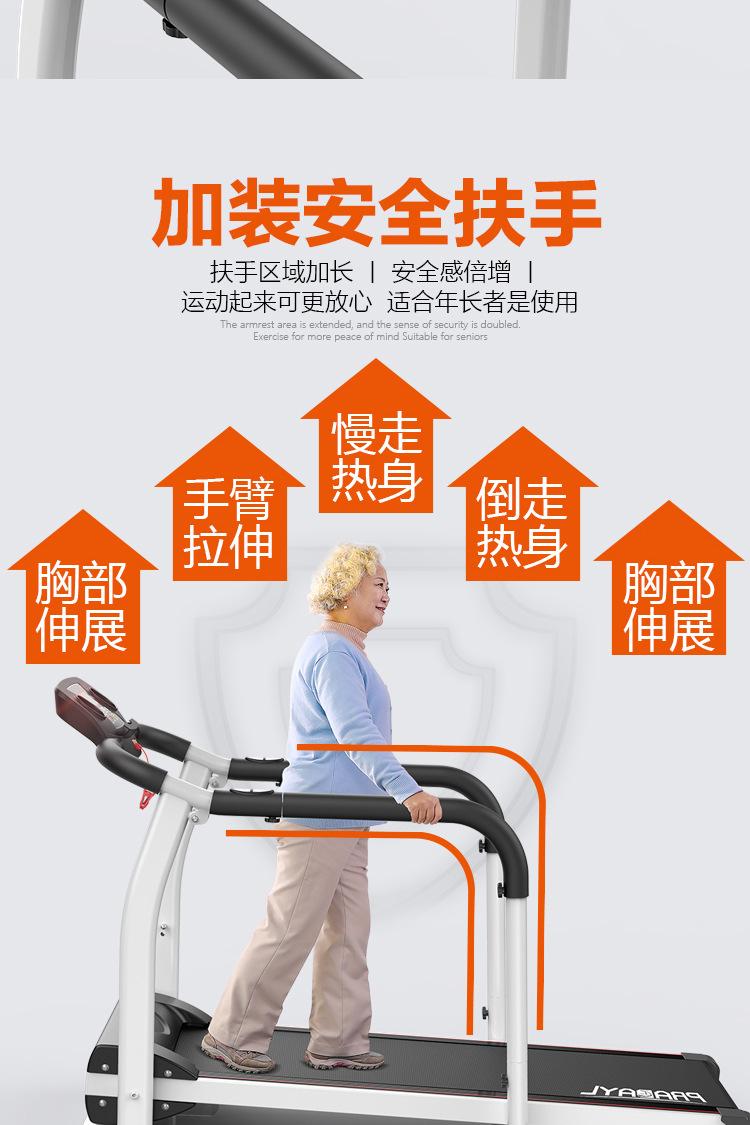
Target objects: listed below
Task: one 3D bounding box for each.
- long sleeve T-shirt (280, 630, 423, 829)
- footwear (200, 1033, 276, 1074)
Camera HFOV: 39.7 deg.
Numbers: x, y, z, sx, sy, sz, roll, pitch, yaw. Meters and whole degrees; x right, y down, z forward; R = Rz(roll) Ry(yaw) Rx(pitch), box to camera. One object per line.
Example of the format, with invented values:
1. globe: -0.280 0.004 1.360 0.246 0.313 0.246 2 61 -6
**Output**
1. long sleeve T-shirt: -0.078 0.327 2.422 0.337 0.622 0.605 -3 -3 -4
2. footwear: -0.294 1.066 2.228 0.133 0.070 0.064 8 -5 18
